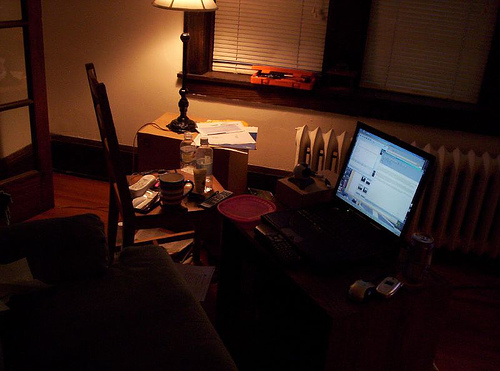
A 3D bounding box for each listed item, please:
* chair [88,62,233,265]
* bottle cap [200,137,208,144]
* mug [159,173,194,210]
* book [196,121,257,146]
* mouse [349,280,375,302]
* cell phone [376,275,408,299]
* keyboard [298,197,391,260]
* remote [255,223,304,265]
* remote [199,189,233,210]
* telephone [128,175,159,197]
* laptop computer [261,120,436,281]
[{"bbox_3d":[-0.498,-0.262,2.165,0.583,1.230,0.542,-3,24,-18],"label":"chair"},{"bbox_3d":[-0.293,-0.290,2.539,0.052,0.036,0.052,-6,21,-17],"label":"bottle cap"},{"bbox_3d":[-0.401,0.008,2.117,0.143,0.183,0.145,-7,28,-21],"label":"mug"},{"bbox_3d":[-0.175,-0.358,2.756,0.411,0.038,0.507,4,23,-4],"label":"book"},{"bbox_3d":[0.386,0.368,1.362,0.077,0.057,0.065,16,28,23],"label":"mouse"},{"bbox_3d":[0.499,0.359,1.405,0.069,0.027,0.118,18,34,41],"label":"cell phone"},{"bbox_3d":[0.389,0.171,1.697,0.260,0.036,0.479,-14,26,-14],"label":"keyboard"},{"bbox_3d":[0.115,0.185,1.557,0.192,0.106,0.228,-12,30,-24],"label":"remote"},{"bbox_3d":[-0.183,0.076,2.129,0.066,0.039,0.226,22,37,29],"label":"remote"},{"bbox_3d":[-0.599,-0.002,2.245,0.078,0.056,0.218,6,24,20],"label":"telephone"},{"bbox_3d":[0.377,0.039,1.588,0.486,0.437,0.442,-10,29,-27],"label":"laptop computer"}]
